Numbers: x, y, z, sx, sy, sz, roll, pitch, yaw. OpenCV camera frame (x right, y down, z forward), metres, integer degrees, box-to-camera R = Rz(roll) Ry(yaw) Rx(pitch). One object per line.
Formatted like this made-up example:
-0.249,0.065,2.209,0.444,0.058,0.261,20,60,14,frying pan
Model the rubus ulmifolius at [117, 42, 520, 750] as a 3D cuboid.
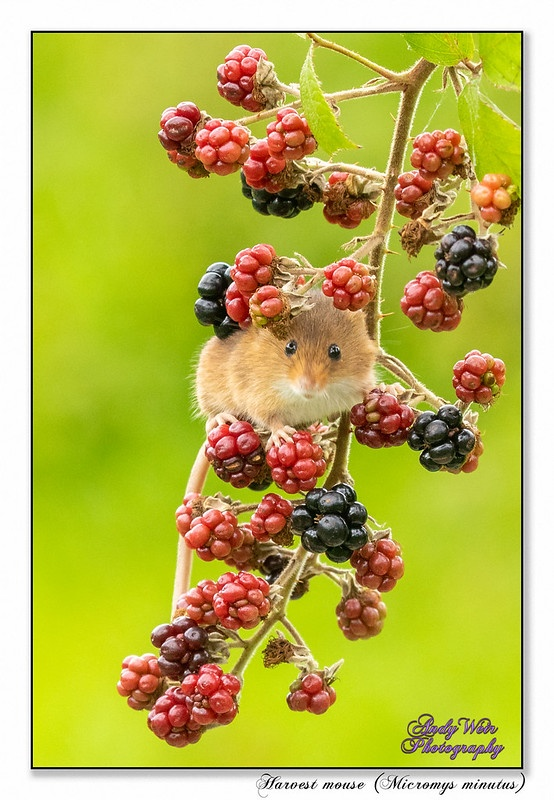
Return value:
0.083,-0.059,2.322,0.809,0.341,1.599,7,-91,-6,rubus ulmifolius
